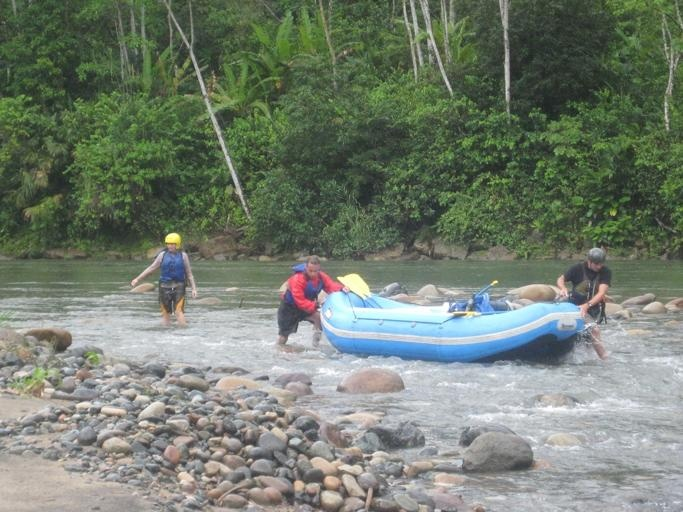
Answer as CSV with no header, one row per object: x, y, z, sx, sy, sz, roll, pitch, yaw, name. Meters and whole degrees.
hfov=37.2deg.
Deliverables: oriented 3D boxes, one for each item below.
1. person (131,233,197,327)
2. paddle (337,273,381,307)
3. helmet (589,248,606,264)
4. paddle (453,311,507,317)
-4.192,0.565,25.534,0.848,2.336,0.617,3,15,12,person
0.376,0.770,23.655,0.477,0.211,1.249,-21,52,-38,paddle
5.711,-0.012,22.518,0.385,0.331,0.326,2,1,41,helmet
2.921,1.269,22.114,0.918,0.094,0.312,-2,10,2,paddle
